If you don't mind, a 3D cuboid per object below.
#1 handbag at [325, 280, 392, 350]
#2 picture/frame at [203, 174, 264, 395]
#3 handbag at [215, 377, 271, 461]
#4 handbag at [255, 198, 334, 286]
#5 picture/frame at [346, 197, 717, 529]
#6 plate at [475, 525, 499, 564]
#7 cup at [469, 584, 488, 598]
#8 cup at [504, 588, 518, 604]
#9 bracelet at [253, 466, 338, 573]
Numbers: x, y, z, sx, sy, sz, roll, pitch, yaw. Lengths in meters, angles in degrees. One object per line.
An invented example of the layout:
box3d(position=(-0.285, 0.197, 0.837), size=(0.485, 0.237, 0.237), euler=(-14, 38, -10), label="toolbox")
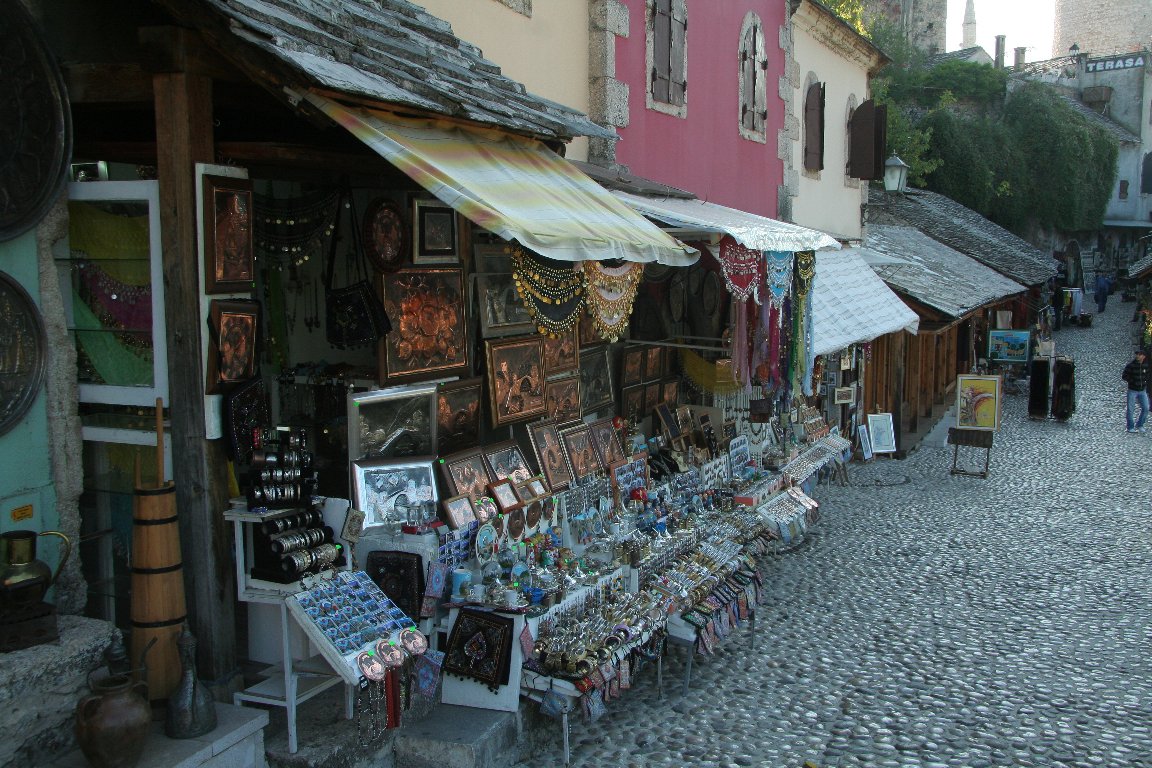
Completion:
box3d(position=(-1.725, -0.553, 7.791), size=(0.499, 0.527, 0.221), euler=(2, 17, 29), label="handbag")
box3d(position=(-2.367, -0.754, 6.589), size=(0.105, 1.433, 0.457), euler=(5, 11, 31), label="picture/frame")
box3d(position=(-2.275, 0.244, 6.598), size=(0.121, 0.470, 0.446), euler=(-1, 14, 22), label="handbag")
box3d(position=(-2.387, -1.222, 8.161), size=(0.581, 0.767, 0.257), euler=(0, 10, -26), label="handbag")
box3d(position=(-0.471, -0.152, 8.438), size=(0.110, 3.456, 2.961), euler=(3, 8, 38), label="picture/frame")
box3d(position=(-0.713, 1.273, 7.726), size=(0.025, 0.264, 0.246), euler=(-3, 9, 29), label="plate")
box3d(position=(-0.736, 1.567, 7.412), size=(0.067, 0.082, 0.111), euler=(0, 2, 7), label="cup")
box3d(position=(-0.490, 1.617, 7.449), size=(0.072, 0.123, 0.117), euler=(-3, -2, 28), label="cup")
box3d(position=(-1.929, 0.998, 6.762), size=(0.277, 0.638, 0.575), euler=(8, 13, 42), label="bracelet")
